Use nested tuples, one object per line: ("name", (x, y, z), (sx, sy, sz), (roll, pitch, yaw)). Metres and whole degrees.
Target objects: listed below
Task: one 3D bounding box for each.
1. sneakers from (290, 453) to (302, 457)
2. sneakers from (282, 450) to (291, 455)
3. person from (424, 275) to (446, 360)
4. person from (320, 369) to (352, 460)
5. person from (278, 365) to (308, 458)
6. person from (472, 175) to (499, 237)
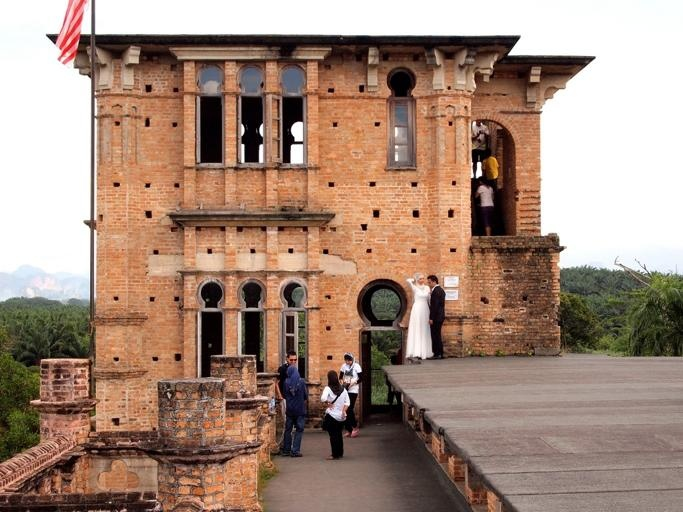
("sneakers", (-1.222, 5.479, 32.827), (0.277, 0.125, 0.105), (-1, 1, -13))
("sneakers", (-1.503, 5.437, 32.905), (0.140, 0.111, 0.146), (-1, -7, 8))
("person", (2.979, 1.917, 36.969), (0.469, 1.950, 1.304), (-3, 1, 5))
("person", (-0.206, 4.291, 32.058), (0.801, 2.329, 0.726), (0, -2, -23))
("person", (-1.301, 4.254, 32.754), (0.712, 2.079, 1.077), (-3, 1, -7))
("person", (4.930, -1.698, 40.787), (0.675, 1.496, 1.910), (-3, 1, 7))
